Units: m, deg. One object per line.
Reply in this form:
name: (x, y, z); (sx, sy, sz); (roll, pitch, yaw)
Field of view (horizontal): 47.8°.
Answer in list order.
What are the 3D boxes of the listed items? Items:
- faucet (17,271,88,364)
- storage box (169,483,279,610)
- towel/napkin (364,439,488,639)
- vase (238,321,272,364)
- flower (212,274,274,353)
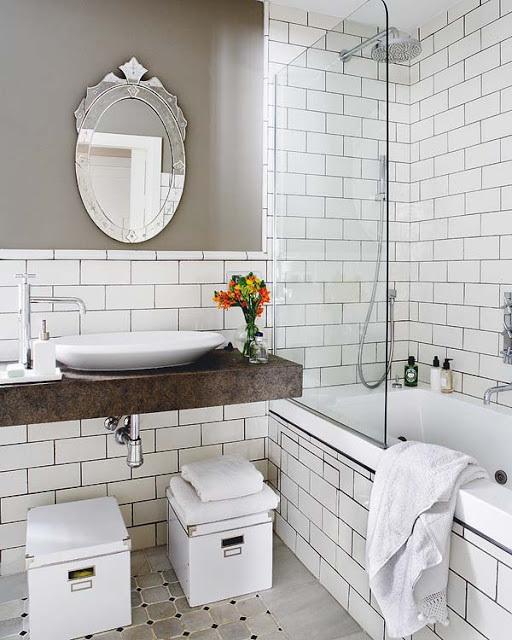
faucet: (-0.741, -0.026, 2.145); (0.254, 0.297, 0.517); (-3, 11, -20)
storage box: (-0.157, 0.859, 2.385); (0.388, 0.400, 0.395); (-1, 6, -21)
towel/napkin: (0.516, 0.600, 1.691); (0.155, 0.535, 0.367); (9, -5, -37)
vase: (-0.017, 0.082, 2.328); (0.093, 0.178, 0.064); (9, -17, -28)
flower: (-0.007, -0.007, 2.361); (0.214, 0.333, 0.196); (3, -7, -29)
